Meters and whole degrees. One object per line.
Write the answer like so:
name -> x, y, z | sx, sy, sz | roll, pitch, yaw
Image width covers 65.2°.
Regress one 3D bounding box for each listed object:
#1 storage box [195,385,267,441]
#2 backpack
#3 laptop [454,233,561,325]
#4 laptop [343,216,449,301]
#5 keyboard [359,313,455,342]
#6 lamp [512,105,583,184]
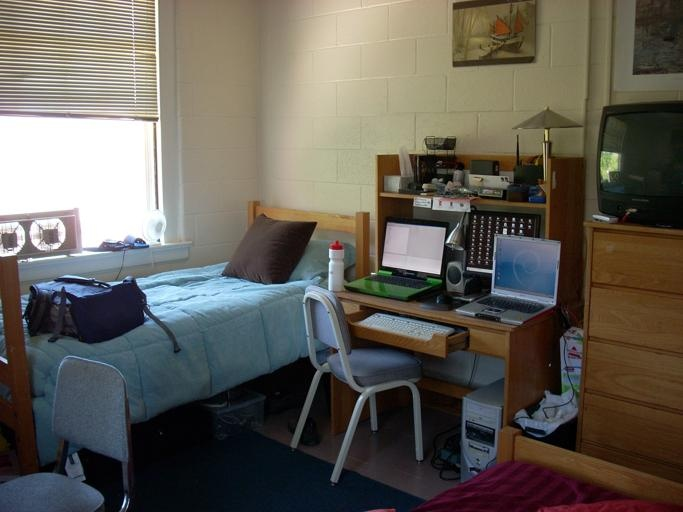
storage box -> -0.634, 0.952, 3.235 | 0.290, 0.186, 0.286 | -7, 9, -41
backpack -> -1.422, 0.275, 2.844 | 0.465, 0.218, 0.361 | 11, 15, 33
laptop -> 0.875, 0.114, 2.741 | 0.404, 0.377, 0.363 | 10, 17, 34
laptop -> 0.398, 0.013, 3.301 | 0.419, 0.518, 0.563 | 8, 4, -44
keyboard -> 0.366, 0.365, 2.867 | 0.542, 0.074, 0.234 | 11, 18, 37
lamp -> 1.096, -0.591, 3.028 | 0.406, 0.514, 0.418 | 3, 6, 21
